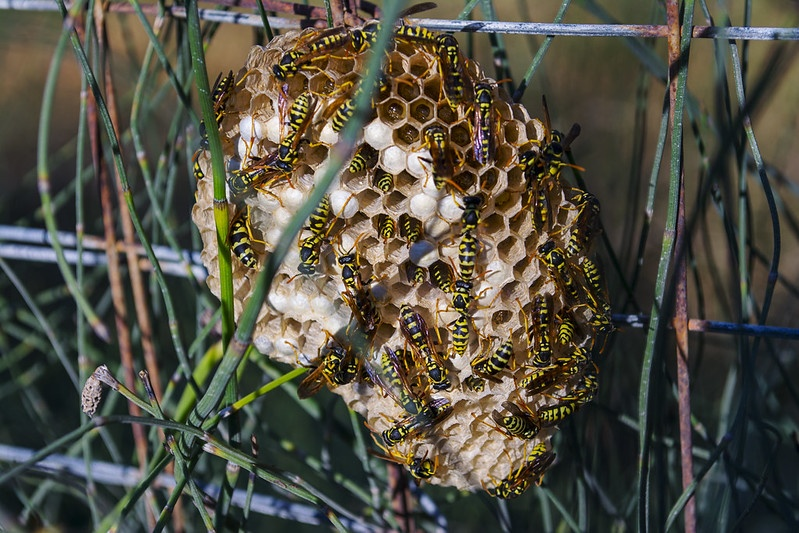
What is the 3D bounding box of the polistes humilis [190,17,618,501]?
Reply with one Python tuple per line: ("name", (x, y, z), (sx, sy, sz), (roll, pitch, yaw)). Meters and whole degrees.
("polistes humilis", (0.135, 0.117, 4.370), (1.045, 2.191, 1.192), (0, 12, 12))
